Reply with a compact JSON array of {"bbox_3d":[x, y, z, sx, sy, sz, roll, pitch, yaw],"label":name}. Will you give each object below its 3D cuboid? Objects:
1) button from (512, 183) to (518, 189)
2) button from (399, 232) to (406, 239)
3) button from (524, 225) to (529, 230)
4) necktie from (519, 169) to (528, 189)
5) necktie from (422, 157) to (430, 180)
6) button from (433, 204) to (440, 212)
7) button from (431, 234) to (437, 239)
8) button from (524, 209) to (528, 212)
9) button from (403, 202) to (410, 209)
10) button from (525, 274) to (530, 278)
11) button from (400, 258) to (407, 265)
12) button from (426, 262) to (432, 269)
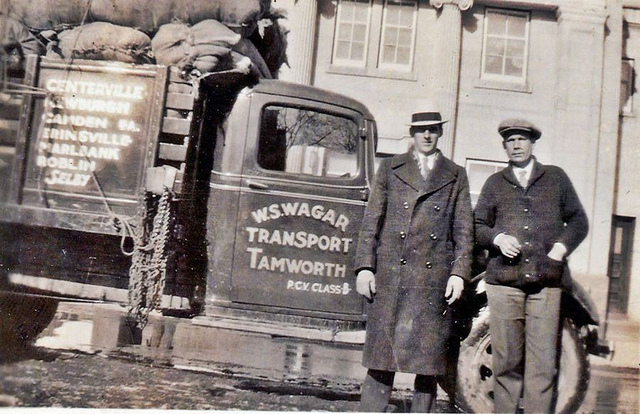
[{"bbox_3d":[1.649,-0.176,7.383,0.029,0.040,0.010,11,0,16],"label":"button"},{"bbox_3d":[0.687,0.237,7.220,0.050,0.052,0.012,4,0,19],"label":"button"},{"bbox_3d":[1.737,0.174,7.333,0.031,0.032,0.019,-3,-1,1],"label":"button"},{"bbox_3d":[1.720,-0.242,7.401,0.090,0.128,0.030,3,-8,29],"label":"necktie"},{"bbox_3d":[0.887,-0.327,7.308,0.064,0.179,0.026,6,-6,-1],"label":"necktie"},{"bbox_3d":[0.965,0.010,7.233,0.040,0.056,0.016,3,0,11],"label":"button"},{"bbox_3d":[0.947,0.248,7.232,0.049,0.037,0.010,8,-7,-18],"label":"button"},{"bbox_3d":[1.736,0.027,7.350,0.021,0.022,0.005,3,-3,17],"label":"button"},{"bbox_3d":[0.716,-0.004,7.223,0.044,0.034,0.045,2,3,39],"label":"button"},{"bbox_3d":[1.733,0.579,7.286,0.024,0.023,0.025,7,14,29],"label":"button"},{"bbox_3d":[0.695,0.455,7.220,0.046,0.045,0.011,16,-12,3],"label":"button"},{"bbox_3d":[0.899,0.485,7.221,0.051,0.054,0.012,4,-3,5],"label":"button"}]
